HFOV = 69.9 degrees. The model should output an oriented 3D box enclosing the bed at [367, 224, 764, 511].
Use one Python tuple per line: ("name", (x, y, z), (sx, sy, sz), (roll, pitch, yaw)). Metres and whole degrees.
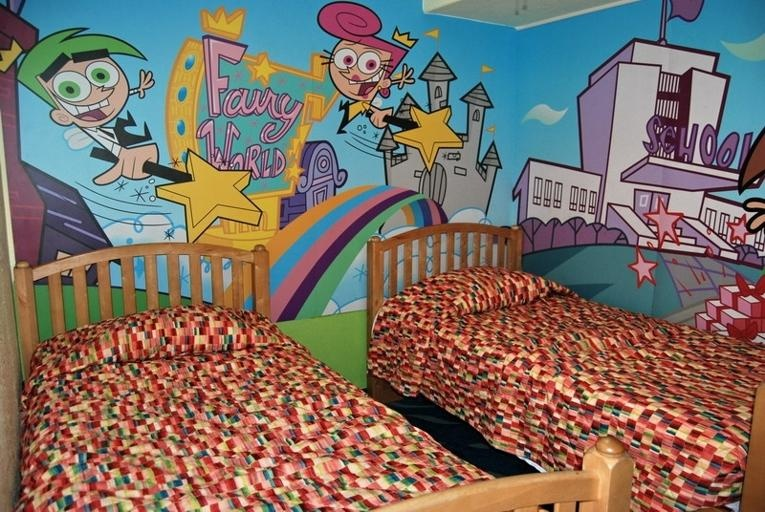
("bed", (1.054, 0.400, 3.537), (1.129, 1.211, 2.013), (-8, 13, -33))
